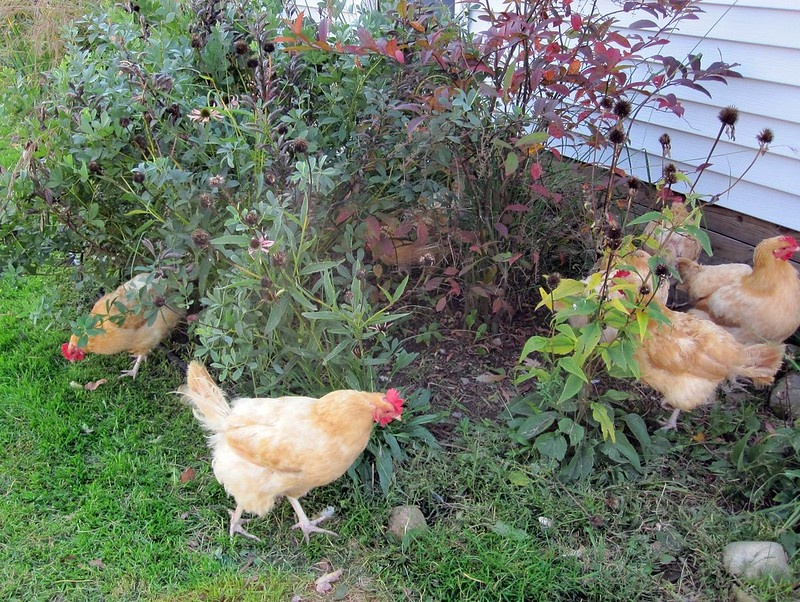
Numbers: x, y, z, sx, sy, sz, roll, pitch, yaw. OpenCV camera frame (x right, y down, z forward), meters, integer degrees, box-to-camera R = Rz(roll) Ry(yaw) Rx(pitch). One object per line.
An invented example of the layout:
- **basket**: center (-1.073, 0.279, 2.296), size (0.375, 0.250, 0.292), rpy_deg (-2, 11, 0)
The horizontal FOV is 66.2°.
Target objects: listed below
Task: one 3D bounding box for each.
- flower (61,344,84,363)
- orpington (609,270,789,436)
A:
- **flower**: center (-2.127, 0.348, 4.004), size (0.051, 0.130, 0.121), rpy_deg (-37, 61, 4)
- **orpington**: center (1.713, 0.327, 3.498), size (0.857, 0.683, 0.395), rpy_deg (23, 54, 26)
